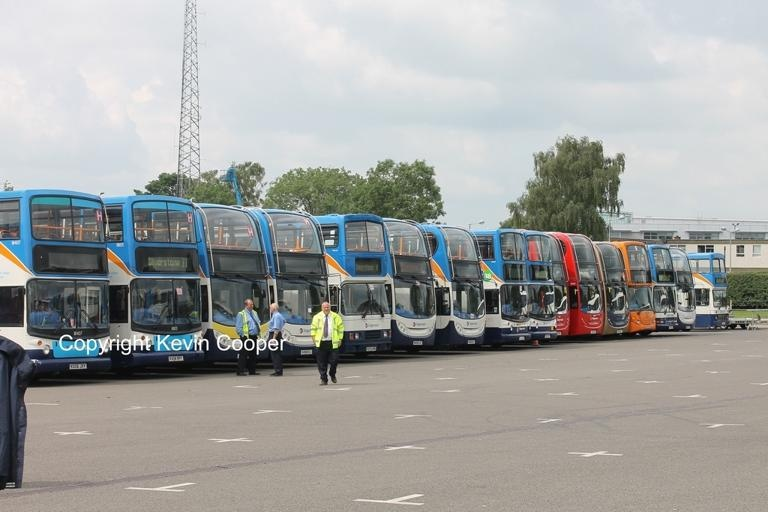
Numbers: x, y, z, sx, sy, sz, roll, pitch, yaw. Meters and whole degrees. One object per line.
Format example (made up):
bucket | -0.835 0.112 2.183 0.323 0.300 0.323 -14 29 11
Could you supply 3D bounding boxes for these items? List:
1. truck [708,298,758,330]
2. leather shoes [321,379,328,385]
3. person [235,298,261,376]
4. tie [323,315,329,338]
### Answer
truck | 24.517 4.165 60.101 3.174 1.459 2.122 4 -5 -24
leather shoes | -1.625 3.355 22.890 0.202 0.173 0.374 -2 -4 -3
person | -4.264 2.517 26.575 0.690 2.338 1.362 -1 -4 -10
tie | -1.573 1.896 22.932 0.156 0.603 0.153 -2 -4 -4
